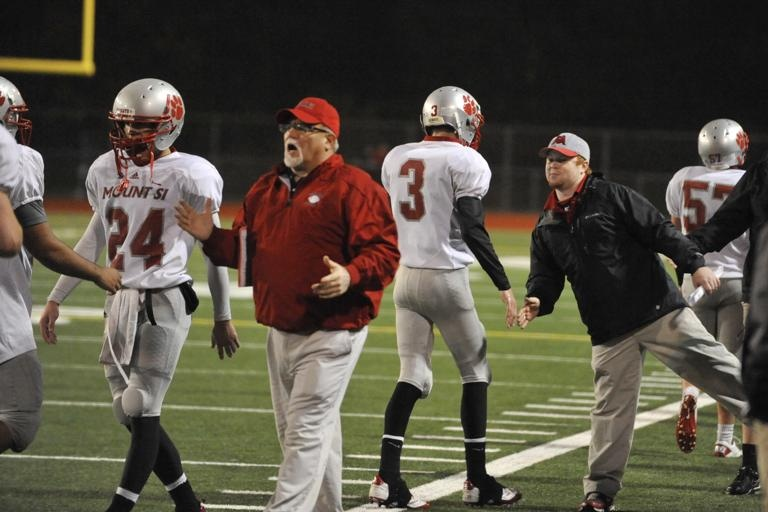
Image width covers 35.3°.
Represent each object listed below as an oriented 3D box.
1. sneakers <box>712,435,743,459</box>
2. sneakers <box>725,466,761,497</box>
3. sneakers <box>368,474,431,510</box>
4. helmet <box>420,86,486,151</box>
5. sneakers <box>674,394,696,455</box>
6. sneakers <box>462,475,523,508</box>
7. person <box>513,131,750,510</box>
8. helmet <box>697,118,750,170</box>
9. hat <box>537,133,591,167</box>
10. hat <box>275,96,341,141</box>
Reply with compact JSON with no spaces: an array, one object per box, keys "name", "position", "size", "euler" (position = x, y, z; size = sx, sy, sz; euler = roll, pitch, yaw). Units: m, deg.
[{"name":"sneakers","position":[2.931,1.622,10.262],"size":[0.112,0.126,0.290],"euler":[0,1,37]},{"name":"sneakers","position":[2.805,1.734,9.372],"size":[0.421,0.171,0.171],"euler":[-1,-2,-45]},{"name":"sneakers","position":[0.077,1.781,9.129],"size":[0.553,0.225,0.181],"euler":[4,-4,-3]},{"name":"helmet","position":[0.591,-1.106,9.683],"size":[0.446,0.511,0.540],"euler":[11,19,34]},{"name":"sneakers","position":[2.439,1.347,9.737],"size":[0.178,0.459,0.216],"euler":[3,-10,11]},{"name":"sneakers","position":[0.784,1.764,9.168],"size":[0.500,0.229,0.179],"euler":[-2,4,-5]},{"name":"person","position":[1.832,0.479,9.140],"size":[1.633,2.772,0.774],"euler":[2,6,9]},{"name":"helmet","position":[2.997,-1.043,10.756],"size":[0.382,0.397,0.502],"euler":[7,40,28]},{"name":"hat","position":[1.445,-0.800,9.331],"size":[0.316,0.166,0.231],"euler":[22,-4,-24]},{"name":"hat","position":[-0.507,-0.977,8.417],"size":[0.376,0.196,0.258],"euler":[25,1,-28]}]
